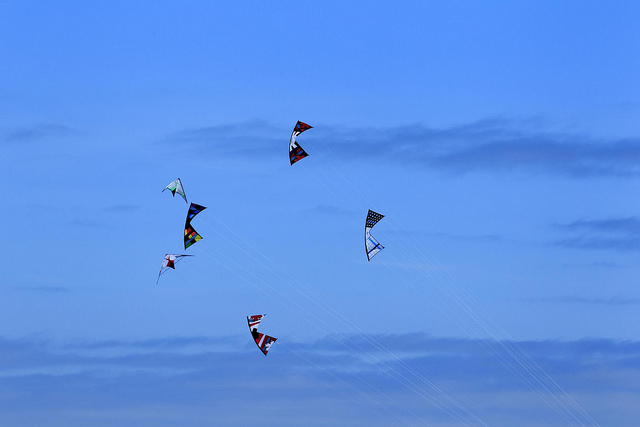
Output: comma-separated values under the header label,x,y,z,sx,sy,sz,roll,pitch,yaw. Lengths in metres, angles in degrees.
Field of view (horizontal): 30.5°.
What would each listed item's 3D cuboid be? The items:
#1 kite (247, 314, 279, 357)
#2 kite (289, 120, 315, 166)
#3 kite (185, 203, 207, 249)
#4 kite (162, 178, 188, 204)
label,x,y,z,sx,sy,sz,roll,pitch,yaw
kite,-2.072,4.787,42.494,0.659,1.811,2.236,-8,-21,17
kite,-0.704,-2.678,43.225,0.741,1.015,1.727,-5,-49,-17
kite,-4.538,0.490,42.990,0.719,1.258,1.417,0,-52,-21
kite,-5.294,-0.922,43.269,0.553,0.847,0.463,-18,-49,-7
